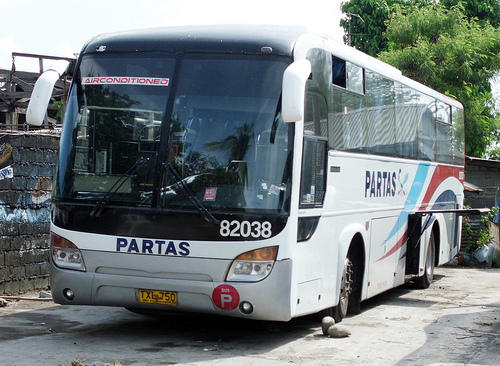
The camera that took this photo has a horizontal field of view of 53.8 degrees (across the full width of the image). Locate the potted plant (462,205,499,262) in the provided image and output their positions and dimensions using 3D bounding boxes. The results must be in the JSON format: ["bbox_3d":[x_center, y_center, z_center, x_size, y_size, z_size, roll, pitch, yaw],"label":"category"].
[{"bbox_3d":[8.497,1.805,18.078,0.592,1.684,1.402,25,-25,-39],"label":"potted plant"}]
